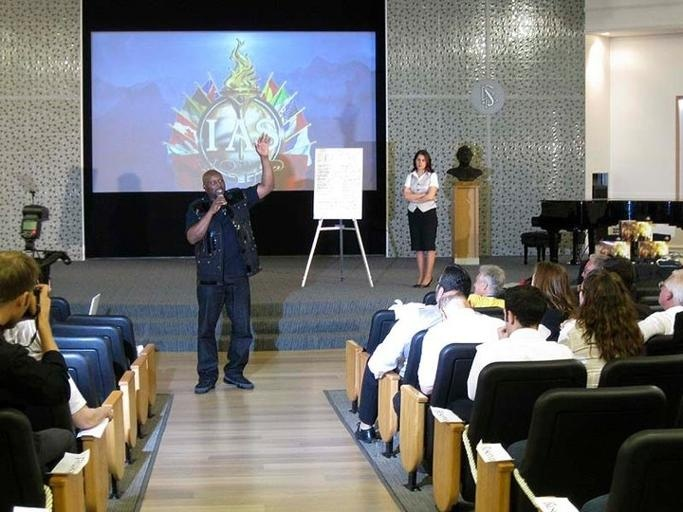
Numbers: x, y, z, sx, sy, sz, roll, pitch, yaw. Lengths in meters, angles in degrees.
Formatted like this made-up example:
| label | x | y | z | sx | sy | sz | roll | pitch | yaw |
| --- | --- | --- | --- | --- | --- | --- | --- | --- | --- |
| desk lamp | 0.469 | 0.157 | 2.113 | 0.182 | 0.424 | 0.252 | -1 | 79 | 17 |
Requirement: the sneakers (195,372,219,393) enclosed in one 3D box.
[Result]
| label | x | y | z | sx | sy | sz | roll | pitch | yaw |
| --- | --- | --- | --- | --- | --- | --- | --- | --- | --- |
| sneakers | -1.245 | 1.184 | 5.273 | 0.095 | 0.111 | 0.266 | 0 | -5 | 5 |

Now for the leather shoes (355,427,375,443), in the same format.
| label | x | y | z | sx | sy | sz | roll | pitch | yaw |
| --- | --- | --- | --- | --- | --- | --- | --- | --- | --- |
| leather shoes | 0.177 | 1.317 | 4.184 | 0.061 | 0.090 | 0.170 | -1 | 6 | -9 |

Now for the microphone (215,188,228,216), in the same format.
| label | x | y | z | sx | sy | sz | roll | pitch | yaw |
| --- | --- | --- | --- | --- | --- | --- | --- | --- | --- |
| microphone | -1.052 | -0.499 | 5.102 | 0.076 | 0.180 | 0.243 | -1 | 6 | -10 |

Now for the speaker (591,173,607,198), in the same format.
| label | x | y | z | sx | sy | sz | roll | pitch | yaw |
| --- | --- | --- | --- | --- | --- | --- | --- | --- | --- |
| speaker | 4.919 | -1.349 | 11.006 | 0.243 | 0.462 | 0.501 | 2 | 6 | 22 |

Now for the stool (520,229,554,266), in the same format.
| label | x | y | z | sx | sy | sz | roll | pitch | yaw |
| --- | --- | --- | --- | --- | --- | --- | --- | --- | --- |
| stool | 3.233 | -0.143 | 9.527 | 0.578 | 0.749 | 0.584 | 0 | -1 | 33 |

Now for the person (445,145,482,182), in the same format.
| label | x | y | z | sx | sy | sz | roll | pitch | yaw |
| --- | --- | --- | --- | --- | --- | --- | --- | --- | --- |
| person | 2.209 | -1.714 | 10.623 | 0.717 | 0.827 | 0.351 | 0 | -2 | -6 |

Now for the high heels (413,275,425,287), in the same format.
| label | x | y | z | sx | sy | sz | roll | pitch | yaw |
| --- | --- | --- | --- | --- | --- | --- | --- | --- | --- |
| high heels | 1.055 | 0.352 | 7.834 | 0.110 | 0.165 | 0.383 | -1 | -4 | 7 |

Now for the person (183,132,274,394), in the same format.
| label | x | y | z | sx | sy | sz | roll | pitch | yaw |
| --- | --- | --- | --- | --- | --- | --- | --- | --- | --- |
| person | -1.014 | 0.080 | 5.261 | 0.733 | 2.343 | 0.422 | -2 | 5 | -15 |

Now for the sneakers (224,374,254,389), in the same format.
| label | x | y | z | sx | sy | sz | roll | pitch | yaw |
| --- | --- | --- | --- | --- | --- | --- | --- | --- | --- |
| sneakers | -0.957 | 1.194 | 5.458 | 0.301 | 0.135 | 0.117 | 3 | 7 | 29 |

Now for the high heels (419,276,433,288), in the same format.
| label | x | y | z | sx | sy | sz | roll | pitch | yaw |
| --- | --- | --- | --- | --- | --- | --- | --- | --- | --- |
| high heels | 1.112 | 0.348 | 7.630 | 0.119 | 0.158 | 0.380 | 0 | -2 | 17 |

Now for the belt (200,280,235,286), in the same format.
| label | x | y | z | sx | sy | sz | roll | pitch | yaw |
| --- | --- | --- | --- | --- | --- | --- | --- | --- | --- |
| belt | -1.135 | 0.249 | 5.249 | 0.299 | 0.059 | 0.079 | 0 | 6 | 5 |

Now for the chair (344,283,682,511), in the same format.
| label | x | y | z | sx | sy | sz | roll | pitch | yaw |
| --- | --- | --- | --- | --- | --- | --- | --- | --- | --- |
| chair | 0.993 | 0.636 | 2.649 | 0.679 | 1.016 | 0.775 | -4 | 11 | -14 |
